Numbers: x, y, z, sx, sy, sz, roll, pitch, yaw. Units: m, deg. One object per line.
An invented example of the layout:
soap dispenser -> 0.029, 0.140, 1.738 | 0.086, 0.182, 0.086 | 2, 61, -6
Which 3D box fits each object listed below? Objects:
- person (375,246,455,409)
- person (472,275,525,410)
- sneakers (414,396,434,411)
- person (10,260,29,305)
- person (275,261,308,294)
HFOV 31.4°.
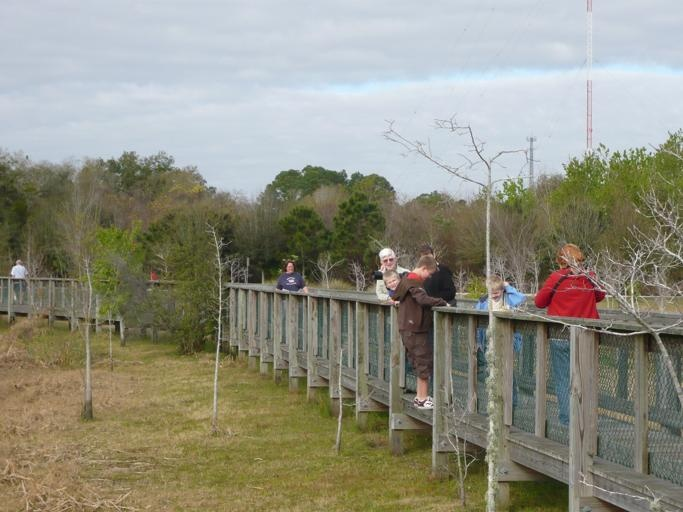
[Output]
person -> 1.402, 1.348, 22.292 | 1.043, 2.729, 1.189 | 2, 7, 23
person -> 2.838, 1.442, 21.719 | 0.804, 2.207, 0.618 | 4, -37, -11
sneakers -> 1.495, 2.648, 22.061 | 0.336, 0.183, 0.151 | -1, -2, 41
person -> -10.923, 0.868, 41.336 | 0.526, 1.430, 1.557 | -3, 7, -16
person -> -1.222, 0.438, 28.950 | 0.799, 0.651, 0.626 | -4, 7, -27
